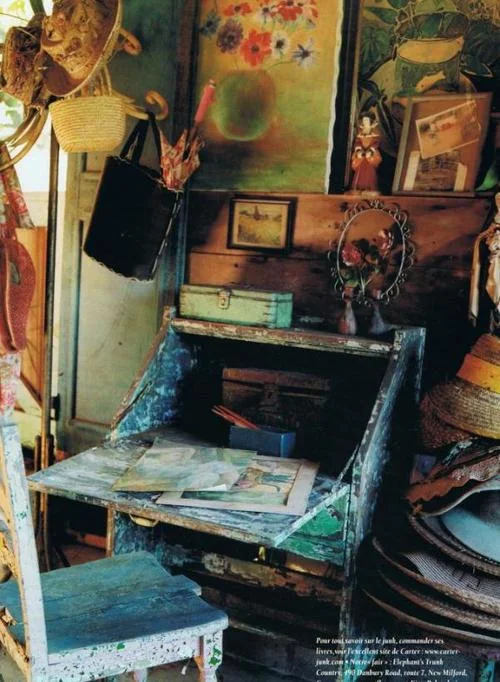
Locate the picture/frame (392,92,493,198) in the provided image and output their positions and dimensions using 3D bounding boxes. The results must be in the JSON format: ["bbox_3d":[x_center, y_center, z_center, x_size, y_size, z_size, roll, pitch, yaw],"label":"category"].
[{"bbox_3d":[0.630,-0.628,2.130,0.380,0.339,0.029,12,12,29],"label":"picture/frame"}]

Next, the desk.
[{"bbox_3d":[-0.081,0.413,1.991,0.861,0.694,0.788,10,17,24],"label":"desk"}]

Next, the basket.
[{"bbox_3d":[-0.579,-0.770,2.346,0.251,0.183,0.170,10,10,40],"label":"basket"}]
